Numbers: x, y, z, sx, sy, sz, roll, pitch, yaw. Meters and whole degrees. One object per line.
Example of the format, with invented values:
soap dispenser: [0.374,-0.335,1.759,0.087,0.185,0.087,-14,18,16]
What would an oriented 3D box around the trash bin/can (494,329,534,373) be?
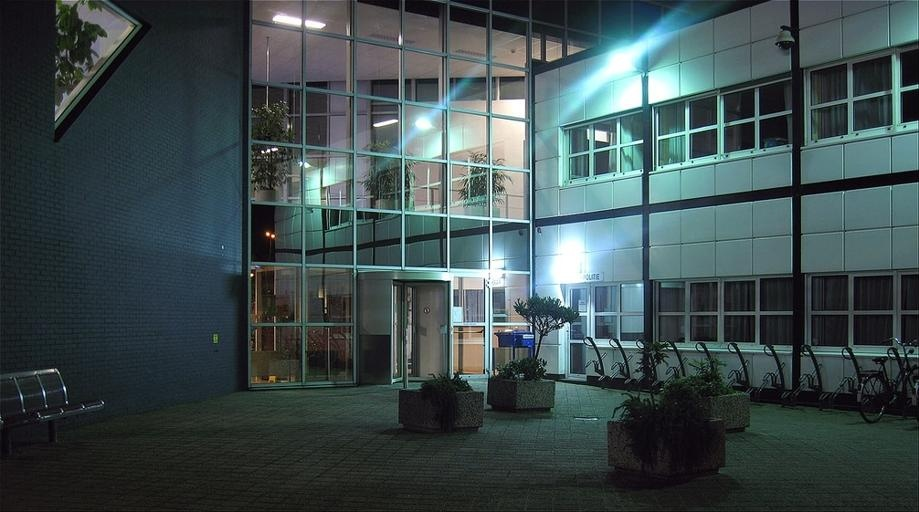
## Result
trash bin/can: [1.970,3.470,24.397,1.642,1.601,1.346,4,-7,-41]

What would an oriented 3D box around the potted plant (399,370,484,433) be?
potted plant: [-0.485,3.489,16.038,1.913,1.265,1.697,5,-6,-23]

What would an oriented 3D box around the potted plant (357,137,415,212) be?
potted plant: [-2.630,-2.899,24.400,2.359,2.647,2.193,1,15,-15]

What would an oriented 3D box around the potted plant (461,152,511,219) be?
potted plant: [1.044,-2.843,25.722,1.849,2.514,2.446,6,1,-9]

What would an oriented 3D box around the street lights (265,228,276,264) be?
street lights: [-6.199,-0.397,22.192,0.298,0.829,0.049,3,-8,-15]

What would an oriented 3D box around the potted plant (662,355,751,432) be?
potted plant: [5.719,3.130,15.176,1.319,1.541,1.676,5,-8,-28]
